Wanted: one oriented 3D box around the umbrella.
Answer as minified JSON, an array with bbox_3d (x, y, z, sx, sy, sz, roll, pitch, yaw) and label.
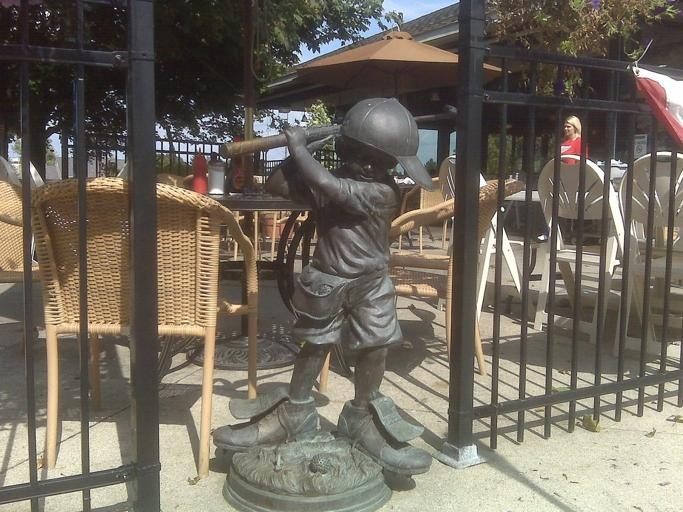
[{"bbox_3d":[0.505,-2.394,8.251,1.869,0.712,2.012,1,10,18],"label":"umbrella"}]
